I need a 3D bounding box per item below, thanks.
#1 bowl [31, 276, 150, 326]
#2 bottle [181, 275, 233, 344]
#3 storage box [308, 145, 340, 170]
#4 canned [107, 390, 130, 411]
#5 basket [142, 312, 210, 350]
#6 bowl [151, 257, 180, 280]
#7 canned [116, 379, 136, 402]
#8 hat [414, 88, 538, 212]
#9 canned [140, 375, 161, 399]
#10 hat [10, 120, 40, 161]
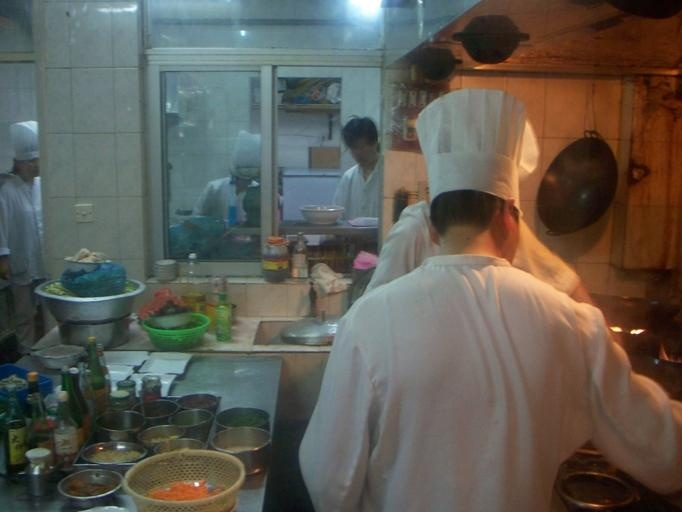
[{"bbox_3d":[-1.240,0.215,3.350,0.497,0.208,0.549,8,6,0],"label":"bowl"},{"bbox_3d":[-0.708,0.293,3.658,0.365,0.440,0.233,0,9,-3],"label":"bottle"},{"bbox_3d":[-0.157,-0.809,5.484,0.250,0.179,0.275,3,8,23],"label":"storage box"},{"bbox_3d":[-0.836,0.535,2.513,0.062,0.060,0.066,7,7,30],"label":"canned"},{"bbox_3d":[-0.820,0.386,3.356,0.322,0.151,0.207,-6,11,-19],"label":"basket"},{"bbox_3d":[-1.022,0.076,3.925,0.125,0.115,0.136,-2,10,0],"label":"bowl"},{"bbox_3d":[-0.836,0.521,2.602,0.065,0.077,0.068,1,6,-15],"label":"canned"},{"bbox_3d":[0.413,-0.248,2.096,0.295,0.321,0.366,-5,-26,18],"label":"hat"},{"bbox_3d":[-0.742,0.508,2.619,0.071,0.126,0.077,1,-4,-6],"label":"canned"},{"bbox_3d":[-2.354,-0.848,4.981,0.162,0.269,0.103,-6,10,-23],"label":"hat"}]
